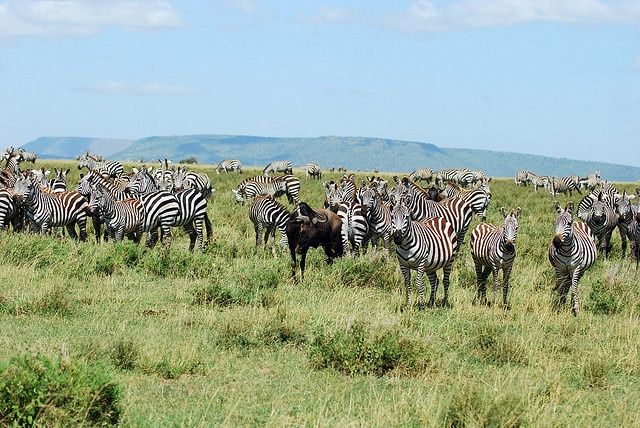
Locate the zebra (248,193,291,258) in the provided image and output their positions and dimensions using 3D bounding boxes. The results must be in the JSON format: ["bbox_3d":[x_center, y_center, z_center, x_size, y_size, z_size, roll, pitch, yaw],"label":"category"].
[{"bbox_3d":[-1.420,0.274,20.547,0.697,1.691,2.429,-1,7,-27],"label":"zebra"}]

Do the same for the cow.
[{"bbox_3d":[-0.158,0.623,17.735,0.519,1.145,1.952,1,-2,29],"label":"cow"}]
